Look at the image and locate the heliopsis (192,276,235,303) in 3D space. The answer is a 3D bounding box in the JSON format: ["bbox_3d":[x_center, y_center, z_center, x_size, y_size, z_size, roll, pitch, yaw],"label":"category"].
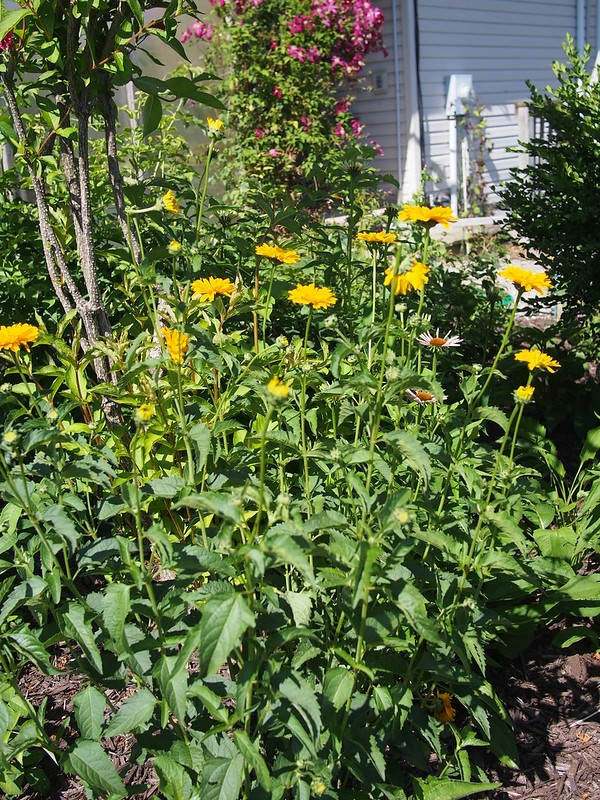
[{"bbox_3d":[-0.221,-0.299,1.878,0.097,0.029,0.093,4,20,11],"label":"heliopsis"}]
